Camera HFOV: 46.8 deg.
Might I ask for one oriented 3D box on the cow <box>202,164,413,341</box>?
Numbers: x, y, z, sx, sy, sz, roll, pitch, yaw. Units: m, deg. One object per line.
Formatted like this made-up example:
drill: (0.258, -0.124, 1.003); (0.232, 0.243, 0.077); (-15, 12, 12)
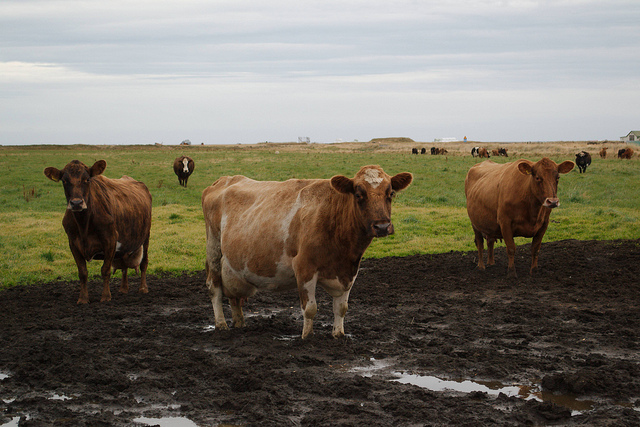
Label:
cow: (-0.458, 0.941, 15.612); (5.539, 3.487, 2.057); (-2, -2, 41)

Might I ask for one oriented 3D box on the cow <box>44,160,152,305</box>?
cow: (-5.105, 0.342, 17.969); (1.598, 3.308, 2.845); (1, 6, 15)

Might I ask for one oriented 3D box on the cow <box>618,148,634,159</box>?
cow: (25.757, -5.136, 62.775); (0.943, 0.770, 2.396); (1, 6, 15)

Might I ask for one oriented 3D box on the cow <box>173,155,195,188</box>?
cow: (-7.083, -2.245, 38.607); (0.959, 1.479, 3.131); (-2, 6, -12)

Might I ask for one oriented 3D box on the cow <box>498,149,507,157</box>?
cow: (17.786, -5.991, 72.193); (0.845, 0.546, 1.386); (0, 7, 8)

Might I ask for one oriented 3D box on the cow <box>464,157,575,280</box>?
cow: (5.129, 0.135, 19.654); (1.673, 2.987, 4.753); (-4, 2, -13)
